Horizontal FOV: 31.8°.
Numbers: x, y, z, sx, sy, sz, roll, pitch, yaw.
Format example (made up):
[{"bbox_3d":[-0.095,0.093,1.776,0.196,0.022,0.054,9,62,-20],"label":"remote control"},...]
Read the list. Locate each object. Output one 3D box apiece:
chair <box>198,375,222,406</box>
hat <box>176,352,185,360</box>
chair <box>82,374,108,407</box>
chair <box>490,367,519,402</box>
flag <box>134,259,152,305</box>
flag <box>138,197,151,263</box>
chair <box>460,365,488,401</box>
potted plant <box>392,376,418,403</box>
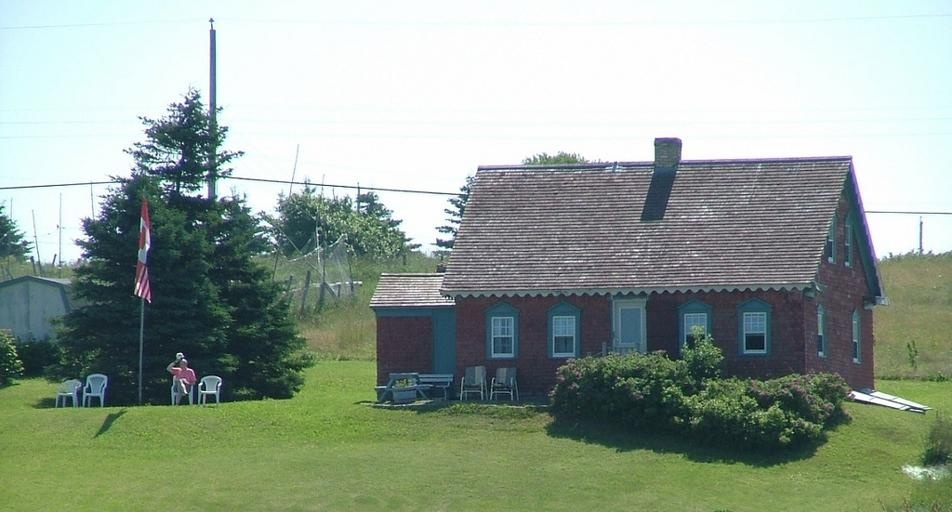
[{"bbox_3d":[-15.394,7.772,96.982,1.670,2.127,1.571,1,-7,-4],"label":"chair"},{"bbox_3d":[-16.858,5.707,95.357,0.343,0.412,0.462,0,6,-2],"label":"hat"},{"bbox_3d":[-21.953,7.734,96.519,1.393,1.916,2.208,2,-7,-13],"label":"chair"},{"bbox_3d":[1.687,7.393,97.474,1.811,2.433,1.722,-1,-5,14],"label":"chair"},{"bbox_3d":[-19.219,1.457,96.194,1.065,2.264,3.387,1,-7,-2],"label":"flag"},{"bbox_3d":[-19.001,-1.498,96.169,0.666,3.913,2.414,2,-7,-11],"label":"flag"},{"bbox_3d":[-0.122,7.343,97.210,1.574,1.946,1.057,1,-7,-2],"label":"chair"},{"bbox_3d":[-4.232,7.725,96.636,1.493,1.450,1.509,-1,-2,22],"label":"potted plant"}]
